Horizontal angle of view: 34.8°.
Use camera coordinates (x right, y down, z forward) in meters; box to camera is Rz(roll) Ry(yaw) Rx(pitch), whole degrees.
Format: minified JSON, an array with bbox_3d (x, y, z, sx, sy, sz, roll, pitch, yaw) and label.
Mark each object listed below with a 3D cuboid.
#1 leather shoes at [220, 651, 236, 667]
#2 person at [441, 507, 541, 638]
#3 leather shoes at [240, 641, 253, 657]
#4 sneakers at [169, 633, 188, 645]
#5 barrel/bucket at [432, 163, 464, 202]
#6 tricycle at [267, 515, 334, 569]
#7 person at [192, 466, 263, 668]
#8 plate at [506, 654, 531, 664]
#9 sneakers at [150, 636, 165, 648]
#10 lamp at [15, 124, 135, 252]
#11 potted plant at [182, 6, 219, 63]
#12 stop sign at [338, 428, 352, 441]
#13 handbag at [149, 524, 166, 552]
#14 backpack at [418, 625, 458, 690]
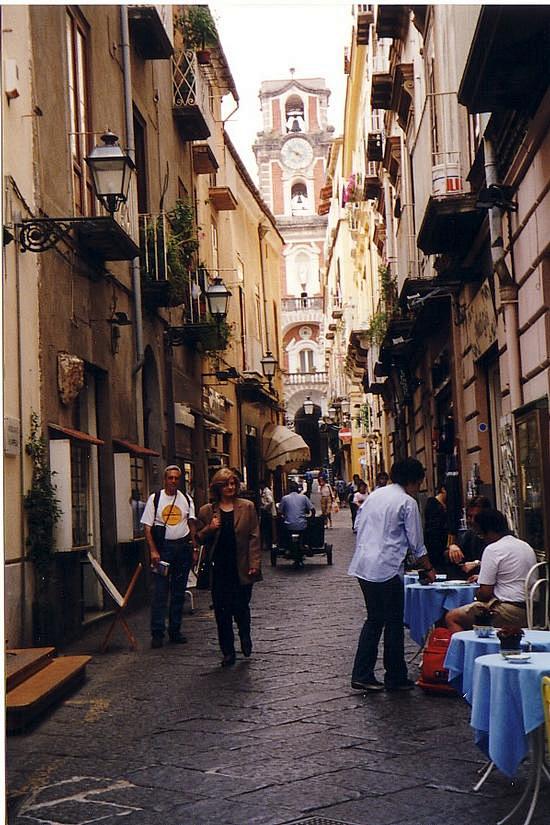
[{"bbox_3d":[-0.353,1.896,6.743,0.070,0.105,0.229,-1,-13,2],"label":"leather shoes"},{"bbox_3d":[1.256,1.062,5.087,0.447,0.932,0.380,-2,-13,37],"label":"person"},{"bbox_3d":[-0.223,1.910,7.112,0.082,0.125,0.270,-2,-7,-2],"label":"leather shoes"},{"bbox_3d":[-0.889,2.070,8.074,0.146,0.118,0.082,-7,4,2],"label":"sneakers"},{"bbox_3d":[1.919,-2.585,9.738,0.307,0.567,0.540,-4,-7,12],"label":"barrel/bucket"},{"bbox_3d":[0.568,2.484,16.906,0.780,0.795,1.411,-1,-7,3],"label":"tricycle"},{"bbox_3d":[-0.355,1.207,7.101,0.472,1.530,0.598,-8,-8,43],"label":"person"},{"bbox_3d":[0.917,0.914,3.281,0.110,0.033,0.068,-2,-7,-6],"label":"plate"},{"bbox_3d":[-1.048,2.056,7.846,0.068,0.096,0.223,1,-11,-5],"label":"sneakers"},{"bbox_3d":[-1.798,-1.985,8.160,0.975,1.565,0.543,3,-9,-18],"label":"lamp"},{"bbox_3d":[-1.502,-7.737,17.567,0.697,0.932,0.787,-2,-6,-8],"label":"potted plant"},{"bbox_3d":[3.669,1.149,45.159,0.599,0.601,1.038,-4,-7,7],"label":"stop sign"},{"bbox_3d":[-1.110,1.205,8.397,0.131,0.257,0.114,-2,-6,-8],"label":"handbag"},{"bbox_3d":[1.054,1.555,5.546,0.273,0.388,0.215,-1,-12,18],"label":"backpack"}]
